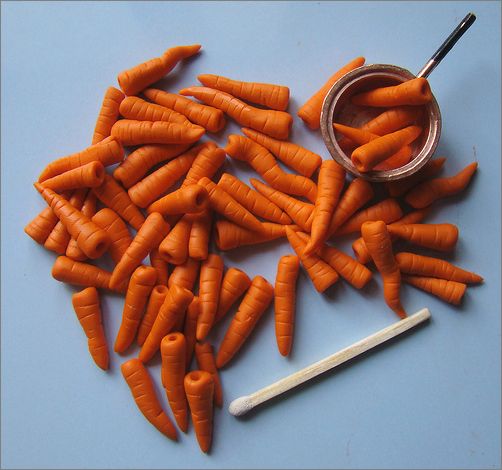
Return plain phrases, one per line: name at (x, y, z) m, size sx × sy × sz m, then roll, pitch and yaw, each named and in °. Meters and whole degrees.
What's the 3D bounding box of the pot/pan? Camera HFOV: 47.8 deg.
pot/pan at (0.537, -0.451, 1.894) m, size 0.596 × 0.249 × 0.401 m, roll -34°, pitch 64°, yaw 13°
